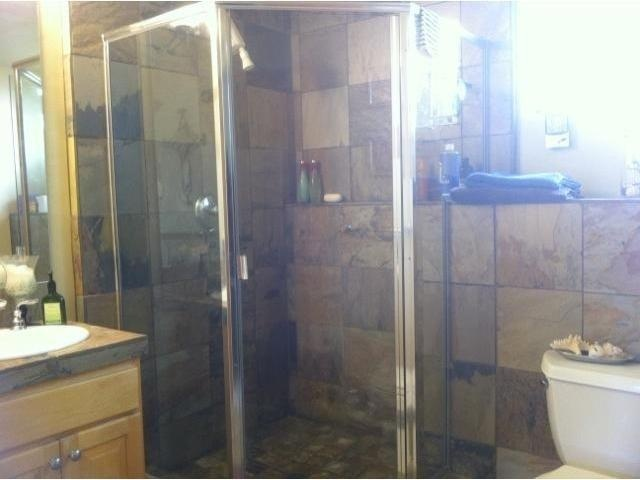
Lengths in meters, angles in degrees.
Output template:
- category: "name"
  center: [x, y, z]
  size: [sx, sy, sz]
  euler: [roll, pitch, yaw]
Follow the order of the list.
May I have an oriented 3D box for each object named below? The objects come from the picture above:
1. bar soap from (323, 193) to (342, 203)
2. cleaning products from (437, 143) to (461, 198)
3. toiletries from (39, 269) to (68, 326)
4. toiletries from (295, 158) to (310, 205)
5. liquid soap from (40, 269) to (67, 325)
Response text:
- category: "bar soap"
  center: [0.063, -0.207, 2.725]
  size: [0.095, 0.048, 0.021]
  euler: [-2, 4, -5]
- category: "cleaning products"
  center: [0.639, -0.335, 2.725]
  size: [0.096, 0.263, 0.098]
  euler: [-4, -19, 22]
- category: "toiletries"
  center: [-1.299, 0.301, 2.674]
  size: [0.101, 0.279, 0.059]
  euler: [-3, -30, -28]
- category: "toiletries"
  center: [-0.084, -0.291, 2.763]
  size: [0.065, 0.215, 0.016]
  euler: [0, 4, 23]
- category: "liquid soap"
  center: [-1.301, 0.280, 2.685]
  size: [0.097, 0.243, 0.192]
  euler: [-4, 4, -27]
